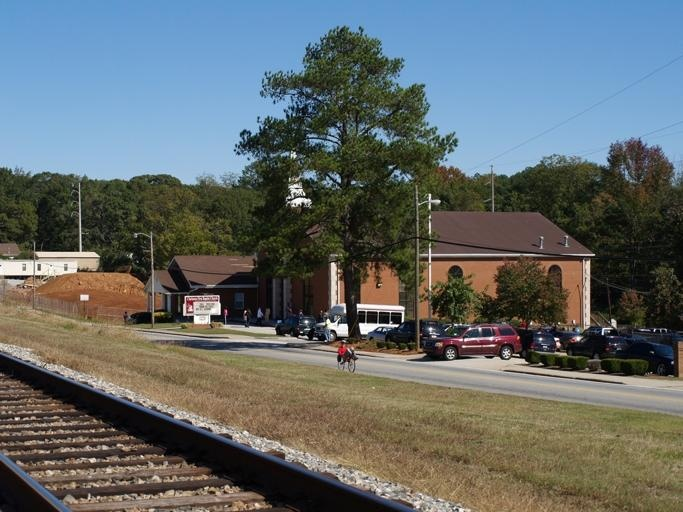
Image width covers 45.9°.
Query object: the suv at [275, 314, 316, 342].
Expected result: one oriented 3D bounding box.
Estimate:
[{"bbox_3d":[-3.193,4.944,56.676,1.369,1.052,2.473,3,0,-34],"label":"suv"}]
